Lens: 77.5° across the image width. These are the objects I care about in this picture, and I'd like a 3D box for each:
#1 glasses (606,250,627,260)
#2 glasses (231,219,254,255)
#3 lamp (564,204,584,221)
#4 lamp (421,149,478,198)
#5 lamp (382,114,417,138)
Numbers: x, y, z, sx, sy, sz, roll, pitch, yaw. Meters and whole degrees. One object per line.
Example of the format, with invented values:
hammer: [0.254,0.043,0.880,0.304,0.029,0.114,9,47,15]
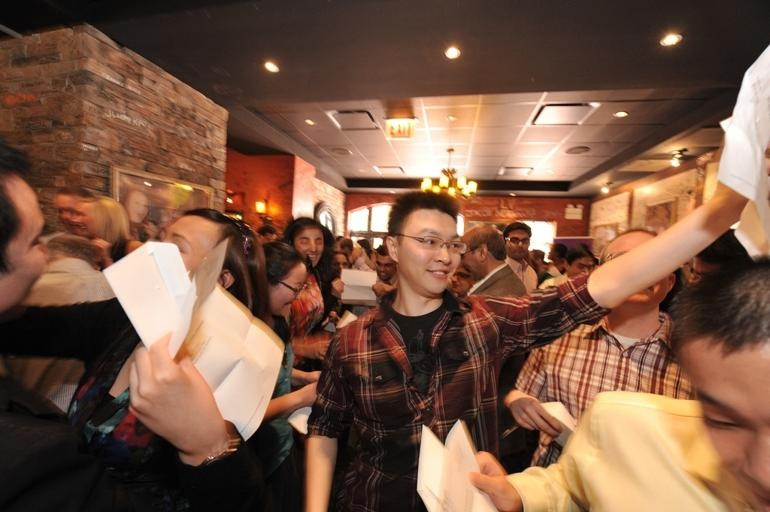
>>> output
glasses: [1.011,-0.006,2.100,0.044,0.037,0.042,-10,0,14]
glasses: [-0.659,-0.097,2.281,0.066,0.170,0.127,-20,8,3]
lamp: [4.406,-1.055,11.269,0.447,0.352,0.133,0,1,-3]
lamp: [1.038,-1.371,7.776,0.802,0.664,0.754,-4,15,-13]
lamp: [0.208,-1.704,6.426,0.356,0.195,0.338,0,7,3]
